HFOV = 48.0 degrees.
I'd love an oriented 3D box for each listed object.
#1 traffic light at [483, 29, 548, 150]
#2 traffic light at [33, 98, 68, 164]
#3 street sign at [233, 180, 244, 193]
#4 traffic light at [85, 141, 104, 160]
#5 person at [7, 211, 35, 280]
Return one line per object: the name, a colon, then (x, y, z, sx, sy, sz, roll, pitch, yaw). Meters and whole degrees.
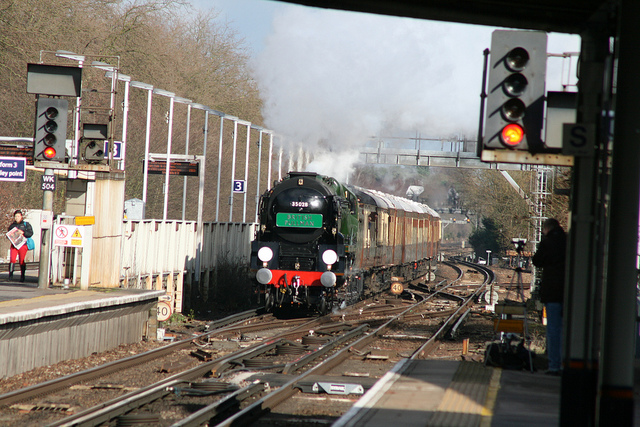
traffic light: (2.946, -1.725, 10.260, 0.992, 1.680, 0.997, 2, 0, -6)
traffic light: (-6.278, -1.984, 16.896, 0.729, 1.039, 0.550, 0, 0, -17)
street sign: (-2.985, -1.017, 26.465, 0.437, 0.444, 0.044, 1, 0, -21)
traffic light: (-5.803, -1.617, 18.625, 0.504, 0.519, 0.174, -1, -15, 20)
person: (-7.885, 0.856, 19.052, 0.592, 1.829, 1.219, 0, 0, -24)
